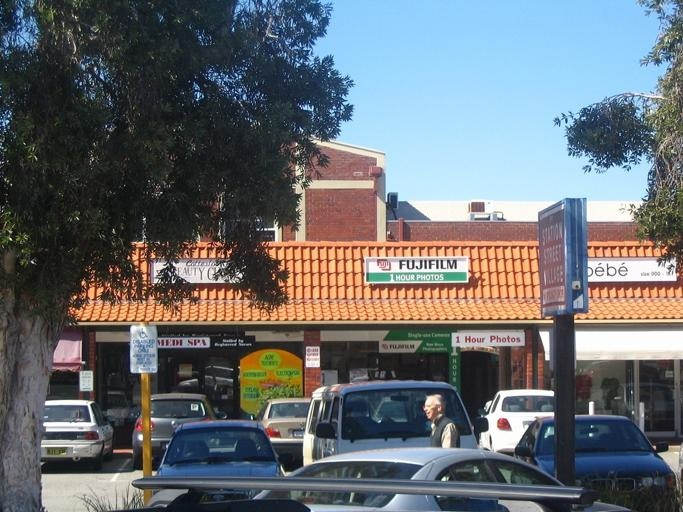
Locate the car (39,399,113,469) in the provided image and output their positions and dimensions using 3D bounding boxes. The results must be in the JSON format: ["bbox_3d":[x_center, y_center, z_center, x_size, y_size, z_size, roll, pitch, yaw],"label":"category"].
[{"bbox_3d":[-6.137,4.114,33.389,1.515,1.652,2.018,1,-10,-12],"label":"car"}]

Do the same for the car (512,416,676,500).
[{"bbox_3d":[4.822,3.609,26.017,1.293,1.035,2.865,0,-11,-5],"label":"car"}]

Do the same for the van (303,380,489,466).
[{"bbox_3d":[0.472,2.994,26.191,1.577,1.492,2.603,0,-13,-10],"label":"van"}]

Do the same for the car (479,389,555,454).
[{"bbox_3d":[3.943,3.734,33.909,1.236,1.091,3.009,0,-2,-3],"label":"car"}]

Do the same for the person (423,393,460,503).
[{"bbox_3d":[1.740,2.913,24.108,0.611,2.176,1.014,2,-14,-6],"label":"person"}]
